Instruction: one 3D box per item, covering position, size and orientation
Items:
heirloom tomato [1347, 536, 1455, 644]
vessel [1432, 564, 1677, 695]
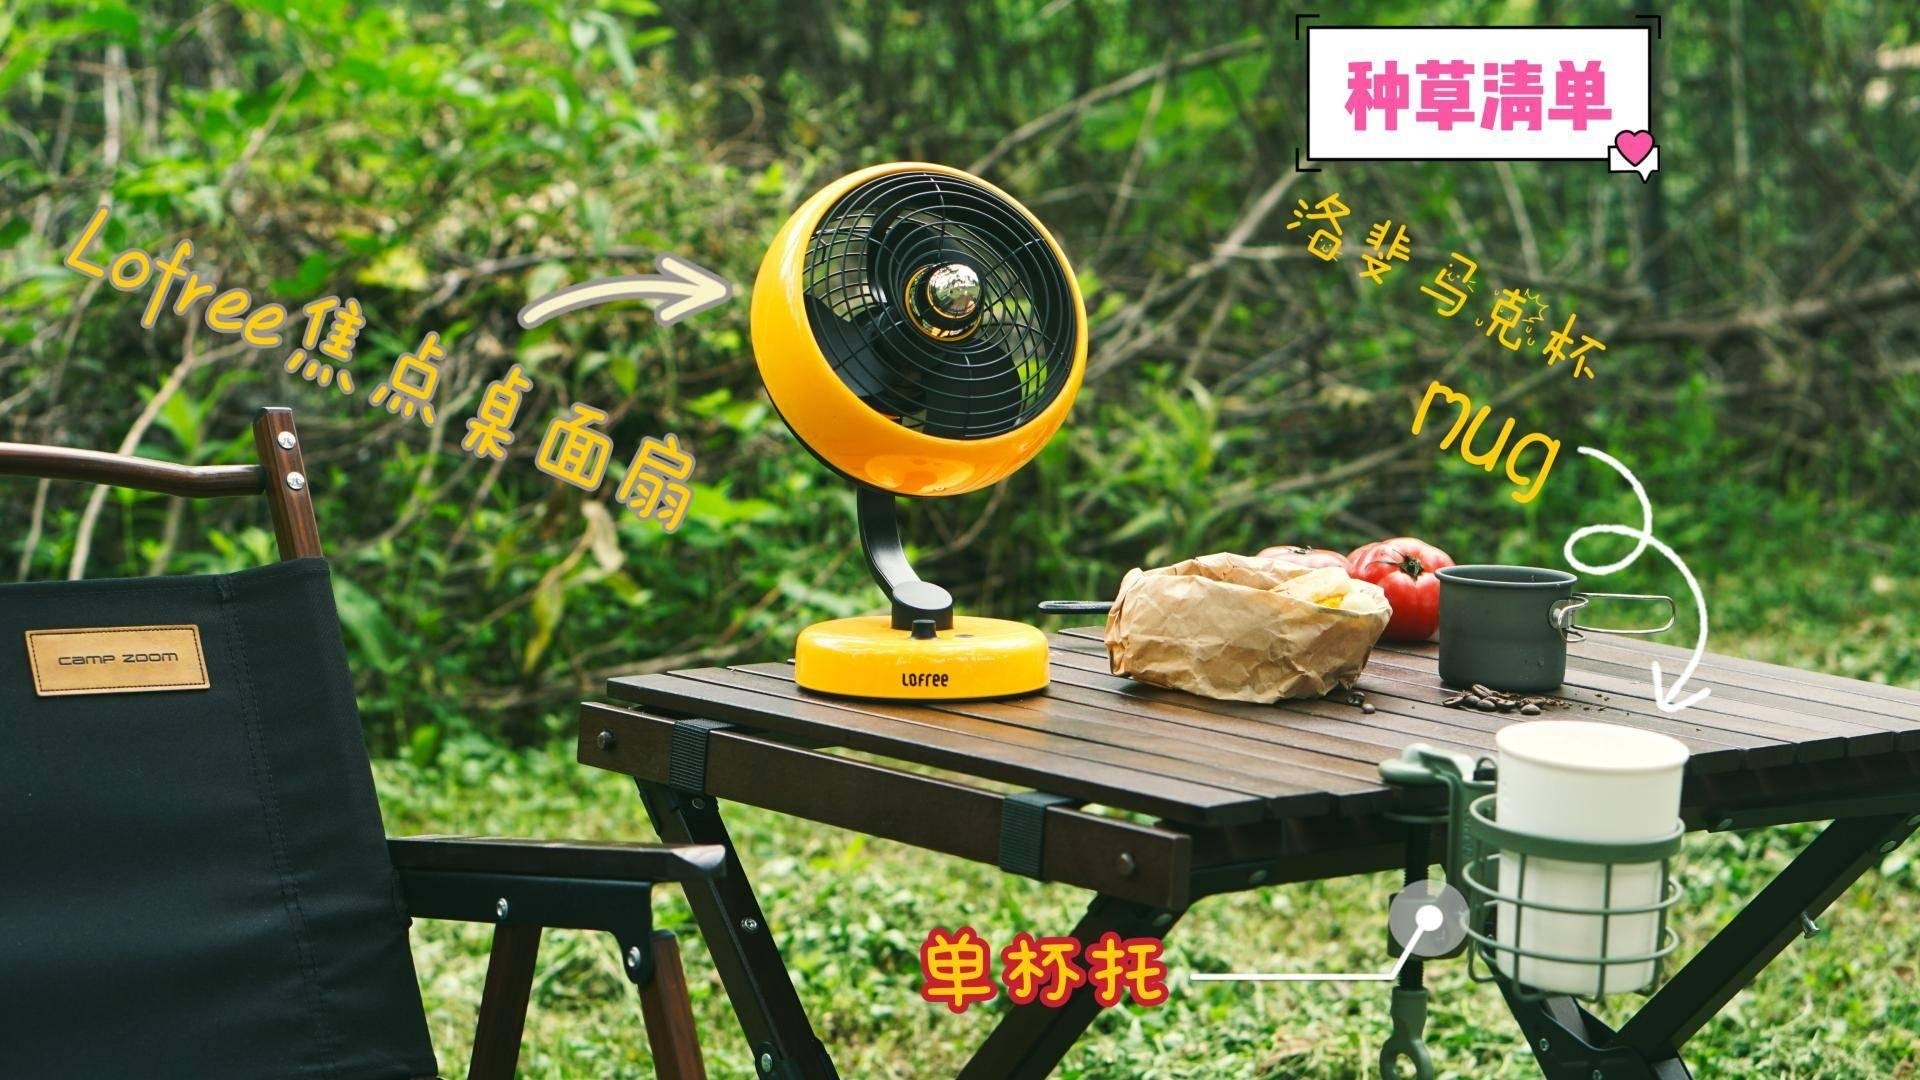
[{"bbox_3d":[1.234,0.141,4.789,0.301,0.221,0.305,-5,-13,-21],"label":"heirloom tomato"},{"bbox_3d":[1.441,0.201,4.434,0.517,0.223,0.303,3,1,19],"label":"vessel"}]
